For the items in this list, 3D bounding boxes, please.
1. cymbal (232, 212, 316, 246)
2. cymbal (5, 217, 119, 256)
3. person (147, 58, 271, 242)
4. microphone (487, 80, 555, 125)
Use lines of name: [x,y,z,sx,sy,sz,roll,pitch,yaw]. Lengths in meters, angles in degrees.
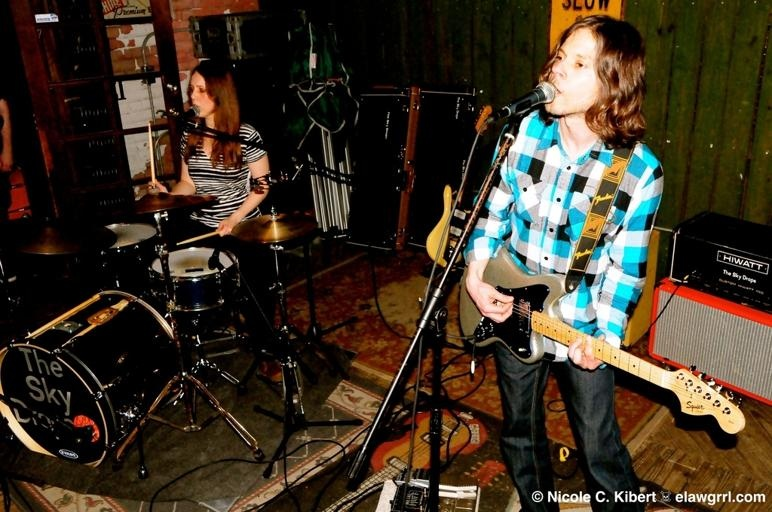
cymbal: [-0.806,-0.190,4.254,0.353,0.086,0.354,-1,34,-4]
cymbal: [-2.259,-0.106,4.070,0.695,0.192,0.299,-6,26,-13]
person: [-1.451,-0.808,4.796,0.838,1.431,0.784,14,30,17]
microphone: [0.665,-0.716,2.804,0.187,0.182,0.547,15,29,29]
